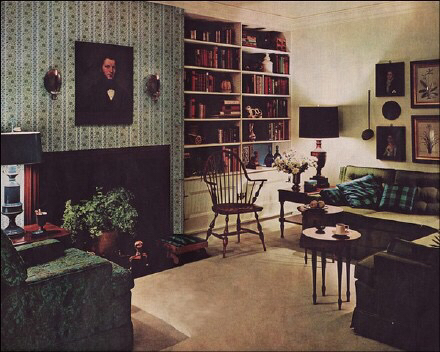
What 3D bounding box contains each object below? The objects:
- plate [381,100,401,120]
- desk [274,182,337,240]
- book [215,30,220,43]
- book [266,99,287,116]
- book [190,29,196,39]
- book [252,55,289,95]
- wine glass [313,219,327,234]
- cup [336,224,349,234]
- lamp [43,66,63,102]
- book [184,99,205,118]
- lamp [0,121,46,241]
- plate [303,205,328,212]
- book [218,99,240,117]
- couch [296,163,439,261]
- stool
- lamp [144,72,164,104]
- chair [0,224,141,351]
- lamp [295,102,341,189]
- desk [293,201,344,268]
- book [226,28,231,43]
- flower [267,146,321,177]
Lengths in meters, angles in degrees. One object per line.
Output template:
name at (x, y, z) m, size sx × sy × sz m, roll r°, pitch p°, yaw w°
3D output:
plate at (2.289, -0.889, 4.932) m, size 0.052 × 0.236 × 0.224 m, roll -7°, pitch 21°, yaw -44°
desk at (1.198, 0.408, 5.154) m, size 0.569 × 0.729 × 0.761 m, roll 0°, pitch 1°, yaw 43°
book at (-0.035, -1.969, 5.164) m, size 0.061 × 0.173 × 0.084 m, roll 0°, pitch 9°, yaw -1°
book at (0.890, -1.049, 6.087) m, size 0.282 × 0.404 × 0.395 m, roll 2°, pitch 3°, yaw 35°
book at (-0.362, -1.924, 4.997) m, size 0.087 × 0.162 × 0.269 m, roll -1°, pitch 9°, yaw -3°
book at (0.770, -1.634, 5.876) m, size 0.696 × 0.609 × 0.234 m, roll -5°, pitch 5°, yaw -44°
wine glass at (1.005, 0.508, 3.706) m, size 0.151 × 0.177 × 0.171 m, roll 0°, pitch -7°, yaw 2°
cup at (1.084, 0.463, 3.283) m, size 0.126 × 0.092 × 0.078 m, roll 1°, pitch -3°, yaw -34°
lamp at (-1.587, -0.890, 3.506) m, size 0.166 × 0.302 × 0.082 m, roll -6°, pitch 10°, yaw -30°
book at (-0.326, -0.938, 5.089) m, size 0.147 × 0.264 × 0.396 m, roll 7°, pitch 12°, yaw 40°
lamp at (-1.730, 0.043, 3.218) m, size 0.349 × 0.887 × 0.490 m, roll -6°, pitch 11°, yaw -34°
plate at (1.074, 0.348, 4.131) m, size 0.274 × 0.055 × 0.253 m, roll 2°, pitch 10°, yaw 12°
book at (0.141, -0.986, 5.360) m, size 0.267 × 0.278 × 0.063 m, roll 1°, pitch 6°, yaw -23°
couch at (1.845, 0.416, 4.351) m, size 0.987 × 1.282 × 1.804 m, roll 3°, pitch -3°, yaw -39°
stool at (-0.415, 0.834, 4.294) m, size 0.376 × 0.180 × 0.347 m, roll -4°, pitch 5°, yaw -40°
lamp at (-0.761, -1.029, 4.266) m, size 0.084 × 0.312 × 0.227 m, roll 6°, pitch 11°, yaw 38°
chair at (-1.142, 0.625, 2.685) m, size 0.838 × 0.853 × 0.906 m, roll -2°, pitch 2°, yaw -39°
lamp at (1.461, -0.435, 5.495) m, size 0.565 × 1.215 × 0.572 m, roll -3°, pitch 6°, yaw -20°
desk at (1.087, 0.599, 4.325) m, size 0.617 × 0.767 × 0.648 m, roll -3°, pitch 4°, yaw -24°
book at (0.127, -2.019, 5.264) m, size 0.096 × 0.194 × 0.039 m, roll -2°, pitch 2°, yaw -26°
flower at (0.996, -0.200, 5.256) m, size 0.471 × 0.370 × 0.568 m, roll 1°, pitch -1°, yaw -30°
